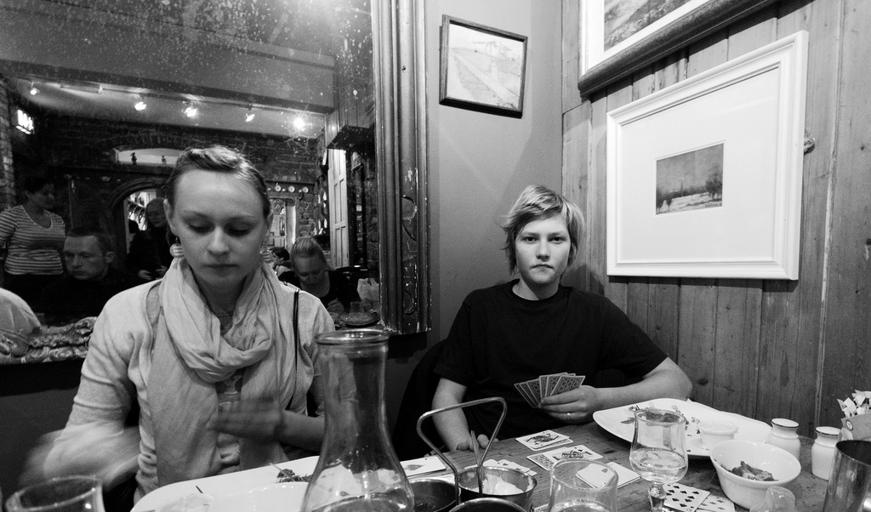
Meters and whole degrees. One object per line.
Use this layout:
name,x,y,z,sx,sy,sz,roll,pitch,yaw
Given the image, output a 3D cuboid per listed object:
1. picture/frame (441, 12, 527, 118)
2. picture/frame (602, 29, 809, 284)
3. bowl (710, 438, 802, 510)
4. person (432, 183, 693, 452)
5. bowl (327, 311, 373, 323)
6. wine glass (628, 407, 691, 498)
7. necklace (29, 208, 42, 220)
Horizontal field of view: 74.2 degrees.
picture/frame,0.272,-1.069,3.247,0.527,0.497,0.041,0,3,-22
picture/frame,1.377,-0.512,2.860,0.100,1.321,1.396,0,4,-41
bowl,1.236,0.817,2.228,0.273,0.131,0.267,0,14,0
person,0.619,0.429,2.925,1.356,1.484,0.997,-3,8,-1
bowl,-0.441,0.324,3.023,0.205,0.074,0.068,3,-5,-21
wine glass,0.851,0.762,2.203,0.212,0.324,0.224,-1,-2,26
necklace,-1.837,-0.186,2.641,0.063,0.046,0.038,4,7,26
